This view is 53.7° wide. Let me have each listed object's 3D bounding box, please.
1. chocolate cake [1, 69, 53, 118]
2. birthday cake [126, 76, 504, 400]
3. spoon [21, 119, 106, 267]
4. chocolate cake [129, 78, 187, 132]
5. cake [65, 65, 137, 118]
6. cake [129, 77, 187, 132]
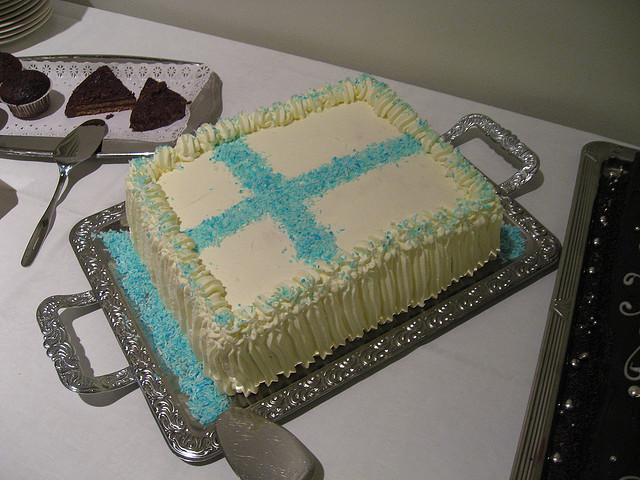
[{"bbox_3d":[-1.484,-0.733,3.176,0.175,0.158,0.249,4,49,10],"label":"chocolate cake"},{"bbox_3d":[-0.070,-0.075,2.360,1.312,0.490,1.160,-27,68,-14],"label":"birthday cake"},{"bbox_3d":[-1.161,-0.283,2.858,0.167,0.070,0.814,11,64,-6],"label":"spoon"},{"bbox_3d":[-0.786,-0.649,3.068,0.230,0.070,0.266,11,69,-1],"label":"chocolate cake"},{"bbox_3d":[-1.175,-0.746,3.256,0.341,0.103,0.339,-36,65,-25],"label":"cake"},{"bbox_3d":[-0.765,-0.646,3.201,0.323,0.228,0.374,-2,47,1],"label":"cake"}]
